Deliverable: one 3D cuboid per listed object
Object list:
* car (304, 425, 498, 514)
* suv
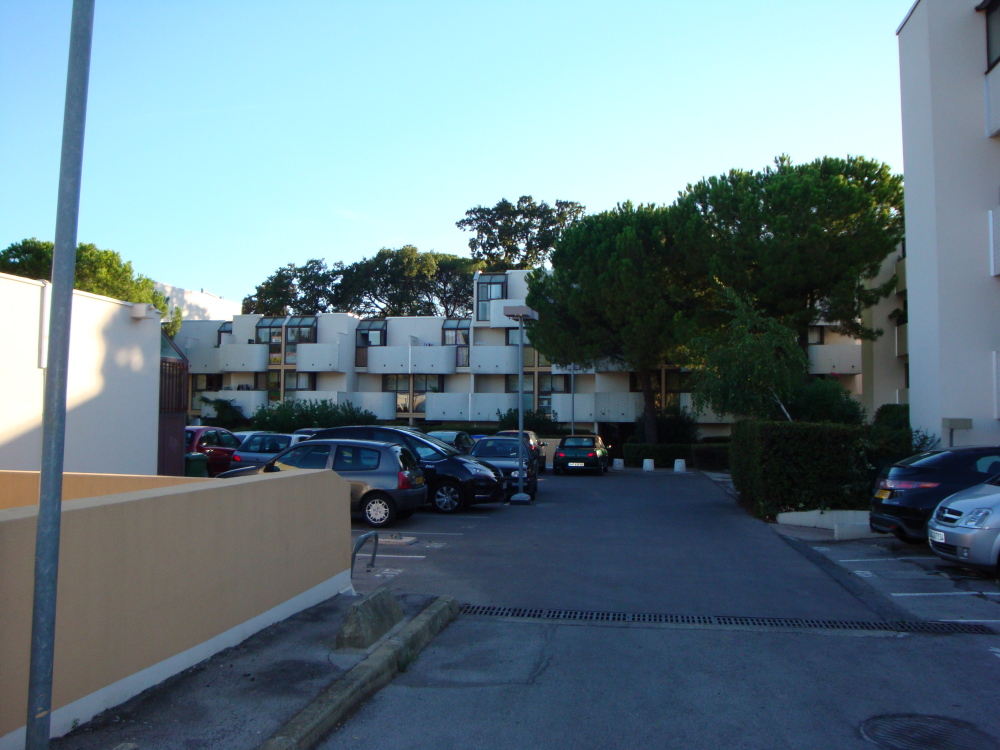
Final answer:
[{"bbox_3d":[-1.904,2.254,20.380,3.755,1.551,2.076,-2,-3,5],"label":"car"},{"bbox_3d":[-3.060,2.022,17.668,2.853,1.268,1.730,2,-4,8],"label":"suv"}]
